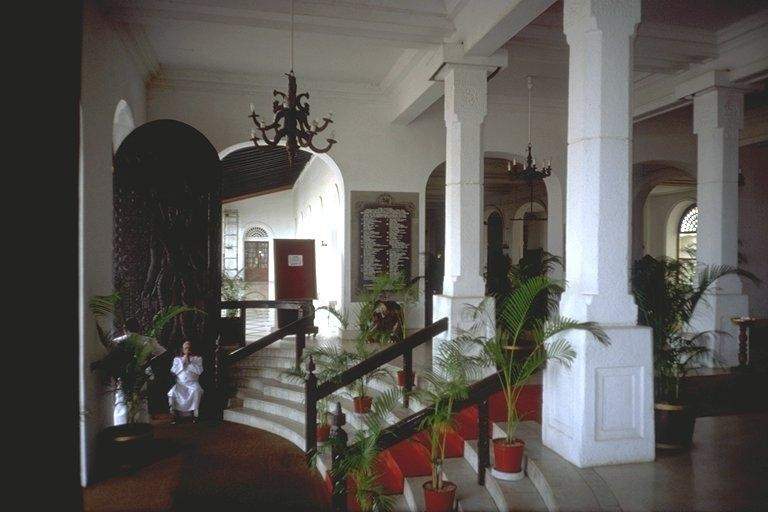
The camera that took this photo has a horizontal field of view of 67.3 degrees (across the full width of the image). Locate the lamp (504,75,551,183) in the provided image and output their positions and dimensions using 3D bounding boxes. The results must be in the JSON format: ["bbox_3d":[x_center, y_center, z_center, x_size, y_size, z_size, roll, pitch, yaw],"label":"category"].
[{"bbox_3d":[2.626,-2.322,10.323,0.815,1.812,0.798,0,4,2],"label":"lamp"}]

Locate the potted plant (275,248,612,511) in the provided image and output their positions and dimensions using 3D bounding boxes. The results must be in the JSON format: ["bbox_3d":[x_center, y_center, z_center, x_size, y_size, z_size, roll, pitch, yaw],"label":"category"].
[{"bbox_3d":[0.528,1.043,5.619,2.695,1.562,2.012,-2,0,-5],"label":"potted plant"}]

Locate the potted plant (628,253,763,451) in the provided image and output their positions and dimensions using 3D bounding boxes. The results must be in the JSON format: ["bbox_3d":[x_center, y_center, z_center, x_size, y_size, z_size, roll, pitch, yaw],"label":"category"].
[{"bbox_3d":[3.279,1.055,6.016,1.452,1.867,1.301,6,-11,-8],"label":"potted plant"}]

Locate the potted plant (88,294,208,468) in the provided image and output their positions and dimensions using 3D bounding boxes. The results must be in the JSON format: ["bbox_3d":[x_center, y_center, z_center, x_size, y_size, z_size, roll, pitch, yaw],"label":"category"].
[{"bbox_3d":[-2.797,1.343,7.059,1.134,1.791,1.906,1,-2,-17],"label":"potted plant"}]
